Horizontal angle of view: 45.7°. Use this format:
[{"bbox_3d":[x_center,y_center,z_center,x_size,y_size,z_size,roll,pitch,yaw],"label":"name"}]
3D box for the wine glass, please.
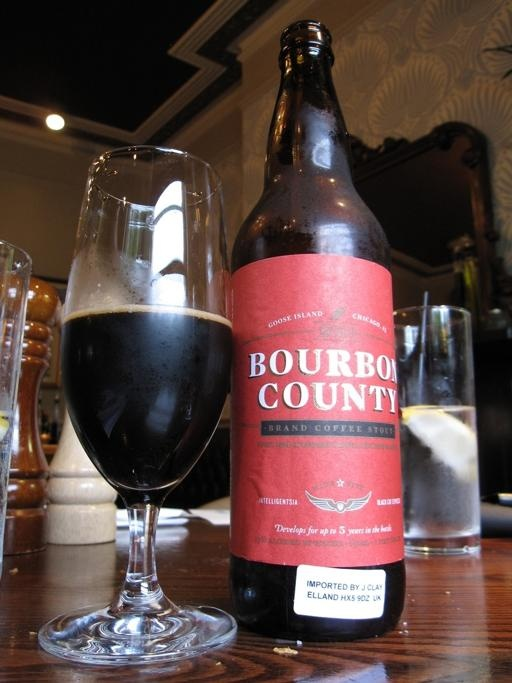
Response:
[{"bbox_3d":[-0.056,0.016,0.328,0.099,0.272,0.089,4,-10,-18],"label":"wine glass"}]
